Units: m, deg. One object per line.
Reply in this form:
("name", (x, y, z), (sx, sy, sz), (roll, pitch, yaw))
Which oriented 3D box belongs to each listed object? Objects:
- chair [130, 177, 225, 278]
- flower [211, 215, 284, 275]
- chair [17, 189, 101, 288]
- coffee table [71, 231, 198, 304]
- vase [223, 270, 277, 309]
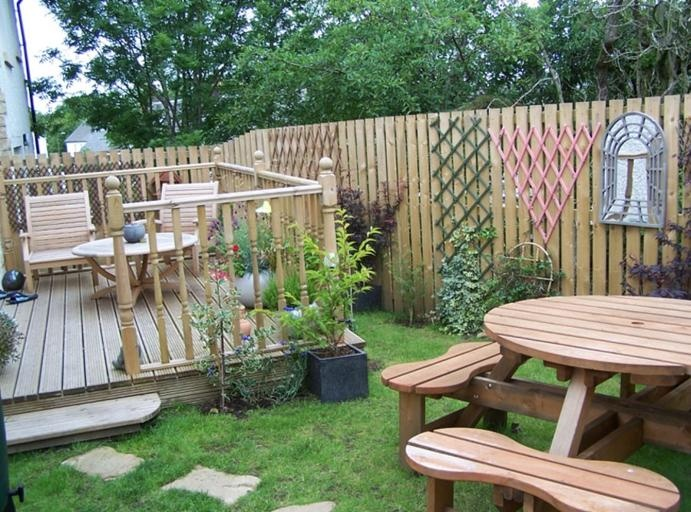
("chair", (-2.249, -0.403, 7.875), (0.811, 1.203, 0.839), (5, 5, 7))
("flower", (-1.074, -0.127, 6.749), (0.793, 0.502, 0.832), (-3, 0, 10))
("chair", (-3.654, -0.209, 7.381), (0.861, 1.135, 0.925), (-3, 12, -11))
("coffee table", (-2.388, 0.179, 6.683), (1.318, 0.556, 1.295), (-2, -1, -42))
("vase", (-1.027, 0.355, 6.244), (0.404, 0.415, 0.407), (-6, 9, -36))
